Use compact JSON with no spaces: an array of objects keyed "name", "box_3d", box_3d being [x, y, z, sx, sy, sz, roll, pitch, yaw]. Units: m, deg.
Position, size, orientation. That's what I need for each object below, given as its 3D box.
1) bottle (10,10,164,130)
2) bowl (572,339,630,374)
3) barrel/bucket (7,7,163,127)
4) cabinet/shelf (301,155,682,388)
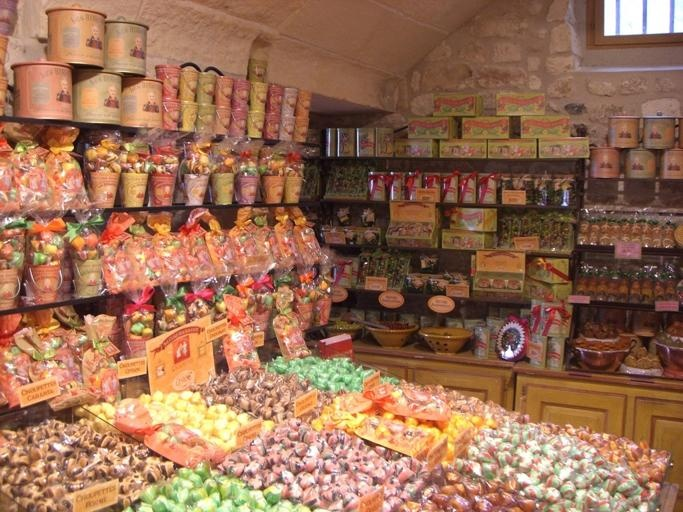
[{"name":"bottle","box_3d":[-1.110,-0.791,2.231,0.274,0.419,0.695,3,4,29]},{"name":"bowl","box_3d":[1.946,0.746,3.932,0.319,0.122,0.295,1,-5,0]},{"name":"barrel/bucket","box_3d":[-1.060,-0.800,2.257,0.620,0.474,0.276,-3,7,-30]},{"name":"cabinet/shelf","box_3d":[1.323,0.136,4.209,2.244,1.142,0.312,2,6,24]}]
